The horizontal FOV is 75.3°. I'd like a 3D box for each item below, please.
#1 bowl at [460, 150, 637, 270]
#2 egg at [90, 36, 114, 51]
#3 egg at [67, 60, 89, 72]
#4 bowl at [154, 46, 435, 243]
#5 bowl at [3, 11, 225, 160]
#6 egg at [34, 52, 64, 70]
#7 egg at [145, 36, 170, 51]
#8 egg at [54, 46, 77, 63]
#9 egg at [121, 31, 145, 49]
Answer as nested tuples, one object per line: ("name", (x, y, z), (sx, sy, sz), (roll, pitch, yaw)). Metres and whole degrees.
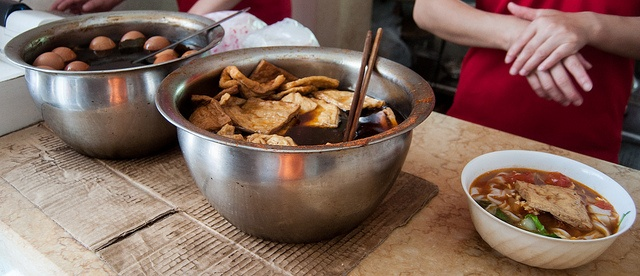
("bowl", (1.105, 0.356, 2.114), (0.808, 0.376, 0.524), (15, 43, 17))
("egg", (-1.294, -0.563, 2.478), (0.112, 0.037, 0.100), (13, 29, 20))
("egg", (-1.357, -0.407, 2.320), (0.081, 0.042, 0.082), (0, 9, -5))
("bowl", (-0.111, 0.004, 2.335), (1.341, 0.583, 1.321), (1, 31, -1))
("bowl", (-1.263, -0.311, 2.693), (1.183, 0.479, 1.018), (3, 26, -2))
("egg", (-1.511, -0.430, 2.317), (0.098, 0.101, 0.084), (24, 22, -27))
("egg", (-0.981, -0.567, 2.489), (0.128, 0.066, 0.086), (-19, 57, -25))
("egg", (-1.455, -0.482, 2.380), (0.110, 0.034, 0.106), (24, 20, 22))
("egg", (-1.124, -0.591, 2.524), (0.127, 0.064, 0.124), (-4, 7, 31))
